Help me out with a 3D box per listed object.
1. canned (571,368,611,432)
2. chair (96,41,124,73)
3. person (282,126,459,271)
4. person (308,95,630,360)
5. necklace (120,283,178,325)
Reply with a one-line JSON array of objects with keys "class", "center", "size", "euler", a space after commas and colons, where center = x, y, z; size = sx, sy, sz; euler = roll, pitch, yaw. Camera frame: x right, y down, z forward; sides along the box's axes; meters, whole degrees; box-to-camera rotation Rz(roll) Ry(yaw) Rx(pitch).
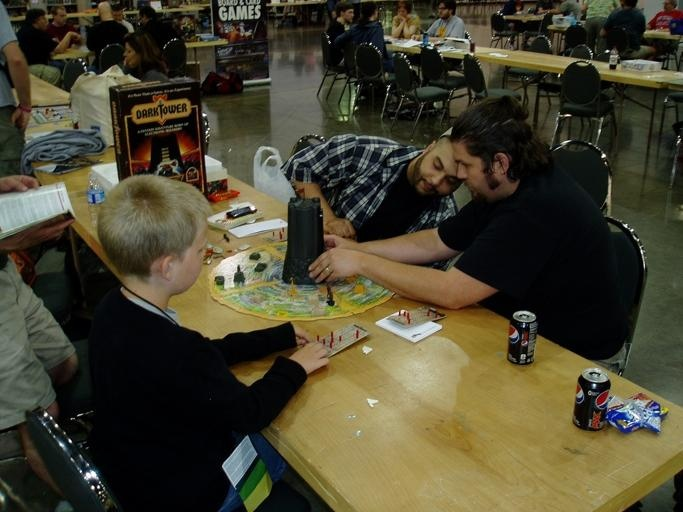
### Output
[{"class": "canned", "center": [0.655, 0.380, 1.280], "size": [0.075, 0.144, 0.064], "euler": [4, 23, 16]}, {"class": "chair", "center": [-3.404, -2.919, 7.210], "size": [0.375, 0.371, 0.251], "euler": [-17, 26, -32]}, {"class": "person", "center": [0.132, -0.252, 2.310], "size": [1.017, 0.434, 0.360], "euler": [10, 44, 23]}, {"class": "person", "center": [0.515, -0.102, 2.008], "size": [1.207, 0.942, 0.711], "euler": [-1, 19, 4]}, {"class": "necklace", "center": [-0.507, 0.130, 1.316], "size": [0.163, 0.039, 0.127], "euler": [29, 1, 13]}]
